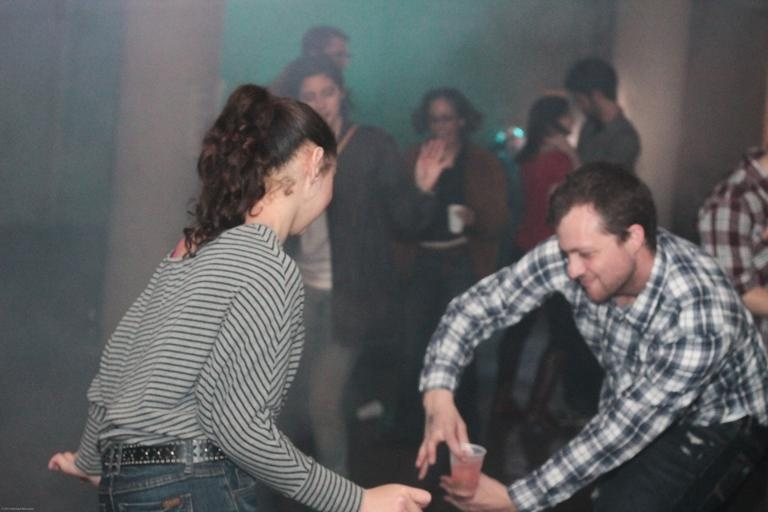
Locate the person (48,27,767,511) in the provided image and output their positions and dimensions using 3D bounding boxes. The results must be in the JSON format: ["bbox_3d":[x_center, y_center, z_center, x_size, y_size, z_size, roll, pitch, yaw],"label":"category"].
[{"bbox_3d":[-0.147,0.106,2.669,1.616,1.435,1.015,-5,14,-31],"label":"person"}]

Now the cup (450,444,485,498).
[{"bbox_3d":[0.277,0.720,2.840,0.149,0.131,0.133,7,-15,1],"label":"cup"}]
